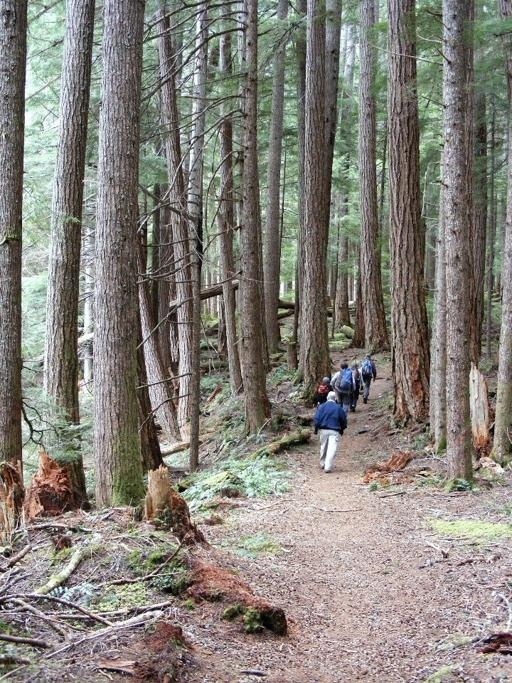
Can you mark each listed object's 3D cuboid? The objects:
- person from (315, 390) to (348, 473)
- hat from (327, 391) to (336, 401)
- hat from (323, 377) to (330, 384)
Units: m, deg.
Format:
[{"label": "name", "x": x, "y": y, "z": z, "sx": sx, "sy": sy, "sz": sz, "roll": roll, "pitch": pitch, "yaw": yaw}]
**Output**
[{"label": "person", "x": 1.177, "y": 1.488, "z": 13.862, "sx": 0.514, "sy": 1.301, "sz": 1.078, "roll": 11, "pitch": 2, "yaw": 5}, {"label": "hat", "x": 1.242, "y": 0.915, "z": 13.738, "sx": 0.146, "sy": 0.156, "sz": 0.121, "roll": 2, "pitch": 1, "yaw": 12}, {"label": "hat", "x": 1.309, "y": 0.750, "z": 15.715, "sx": 0.097, "sy": 0.144, "sz": 0.136, "roll": 2, "pitch": 6, "yaw": 3}]
